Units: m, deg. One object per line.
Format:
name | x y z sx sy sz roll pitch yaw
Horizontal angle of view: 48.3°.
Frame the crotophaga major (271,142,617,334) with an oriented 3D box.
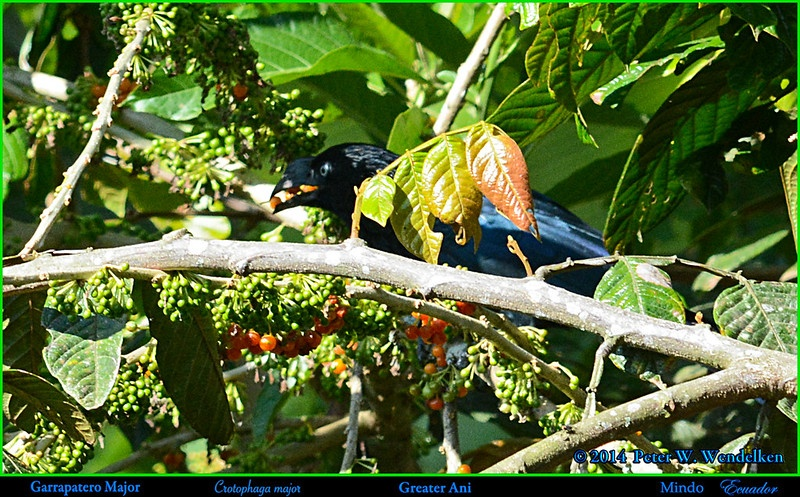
crotophaga major | 0.390 -0.176 3.920 1.852 0.696 0.573 -5 15 -6
